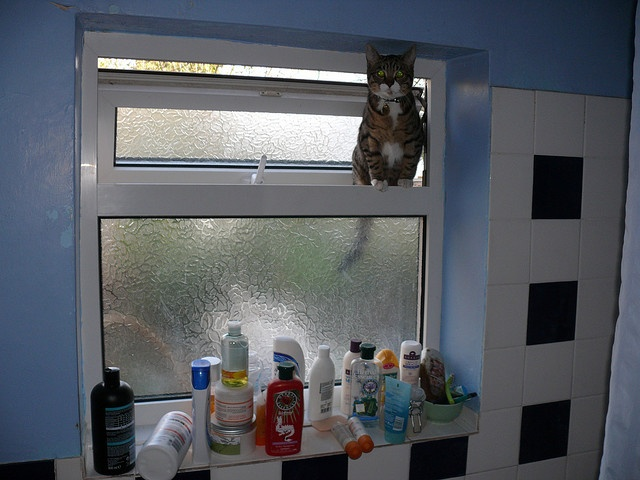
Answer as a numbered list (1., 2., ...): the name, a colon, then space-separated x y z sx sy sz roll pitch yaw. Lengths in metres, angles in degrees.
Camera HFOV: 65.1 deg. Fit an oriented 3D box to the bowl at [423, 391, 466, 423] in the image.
1. bowl: 0.396 0.534 1.594 0.085 0.048 0.086 -2 -10 0
